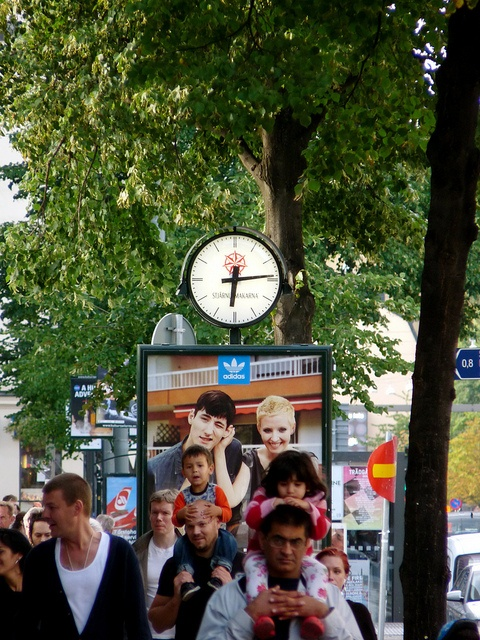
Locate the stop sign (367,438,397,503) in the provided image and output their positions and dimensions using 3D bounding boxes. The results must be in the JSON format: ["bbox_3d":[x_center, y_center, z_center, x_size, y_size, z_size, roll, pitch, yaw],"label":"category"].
[{"bbox_3d":[1.440,1.534,17.445,0.248,0.746,0.040,-6,33,0],"label":"stop sign"}]

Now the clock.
[{"bbox_3d":[-0.043,-0.192,13.092,0.864,1.147,0.126,0,17,-1],"label":"clock"}]

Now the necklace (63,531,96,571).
[{"bbox_3d":[-0.951,1.412,10.561,0.140,0.222,0.050,-5,-12,-6],"label":"necklace"}]

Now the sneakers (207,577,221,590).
[{"bbox_3d":[-0.168,1.718,11.286,0.124,0.095,0.044,-2,-11,21],"label":"sneakers"}]
